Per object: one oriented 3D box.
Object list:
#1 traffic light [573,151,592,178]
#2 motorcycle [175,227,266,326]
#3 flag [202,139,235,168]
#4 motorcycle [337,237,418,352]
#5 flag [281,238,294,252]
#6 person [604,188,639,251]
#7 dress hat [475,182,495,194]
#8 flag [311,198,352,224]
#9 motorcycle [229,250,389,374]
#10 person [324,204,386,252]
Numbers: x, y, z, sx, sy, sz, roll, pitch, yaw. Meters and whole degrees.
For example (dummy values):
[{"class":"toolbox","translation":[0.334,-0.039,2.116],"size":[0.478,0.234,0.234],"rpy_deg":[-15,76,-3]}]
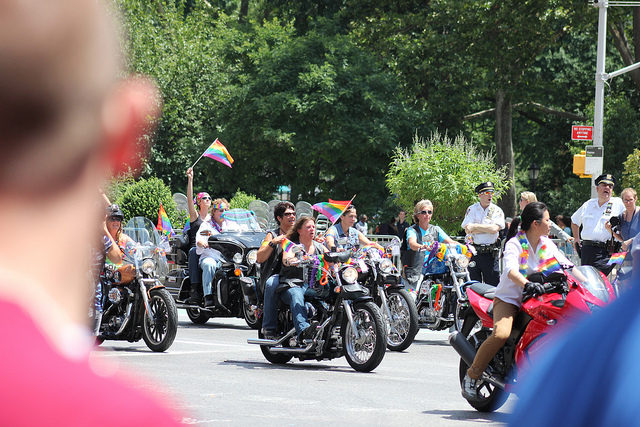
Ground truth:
[{"class":"traffic light","translation":[6.006,-1.122,19.487],"size":[0.331,0.527,1.227],"rpy_deg":[-11,-6,17]},{"class":"motorcycle","translation":[-1.541,0.919,12.811],"size":[1.059,1.455,2.259],"rpy_deg":[4,-3,-44]},{"class":"flag","translation":[-1.728,-1.009,14.752],"size":[0.566,0.063,0.740],"rpy_deg":[10,-33,-27]},{"class":"motorcycle","translation":[0.856,1.057,10.147],"size":[0.735,0.968,1.541],"rpy_deg":[-3,-2,-22]},{"class":"flag","translation":[-0.359,0.348,9.008],"size":[0.143,0.105,0.012],"rpy_deg":[3,16,42]},{"class":"person","translation":[3.783,0.075,10.554],"size":[0.438,0.700,0.795],"rpy_deg":[-11,-6,17]},{"class":"dress hat","translation":[2.336,-0.355,12.136],"size":[0.267,0.144,0.287],"rpy_deg":[-1,5,-38]},{"class":"flag","translation":[0.131,-0.094,13.491],"size":[0.666,0.382,0.329],"rpy_deg":[20,-19,-40]},{"class":"motorcycle","translation":[-0.069,0.995,9.375],"size":[1.078,1.355,2.406],"rpy_deg":[6,-8,-35]},{"class":"person","translation":[0.320,0.211,10.846],"size":[0.777,0.505,0.512],"rpy_deg":[2,1,30]}]
